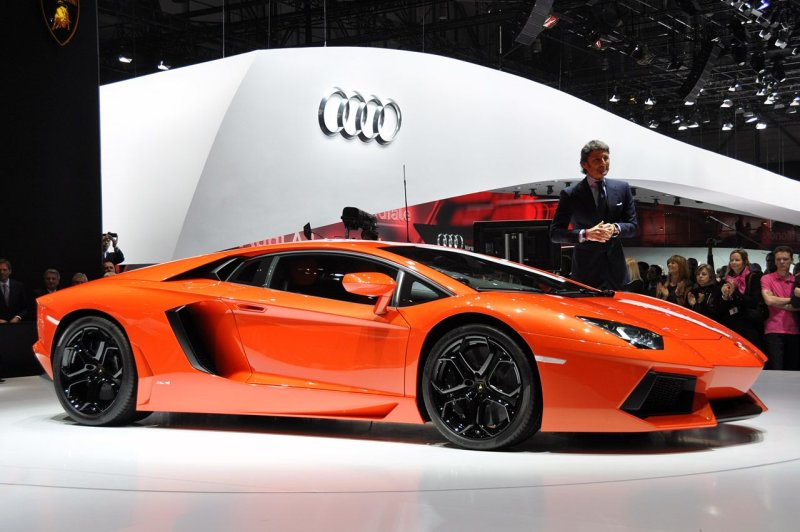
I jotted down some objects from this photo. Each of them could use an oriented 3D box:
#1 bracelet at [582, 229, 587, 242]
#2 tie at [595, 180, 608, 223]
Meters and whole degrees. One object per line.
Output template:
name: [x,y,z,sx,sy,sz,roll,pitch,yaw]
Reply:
bracelet: [1.636,-0.274,4.850,0.051,0.081,0.085,3,-27,3]
tie: [1.850,-0.598,4.988,0.098,0.383,0.038,-1,-1,15]
